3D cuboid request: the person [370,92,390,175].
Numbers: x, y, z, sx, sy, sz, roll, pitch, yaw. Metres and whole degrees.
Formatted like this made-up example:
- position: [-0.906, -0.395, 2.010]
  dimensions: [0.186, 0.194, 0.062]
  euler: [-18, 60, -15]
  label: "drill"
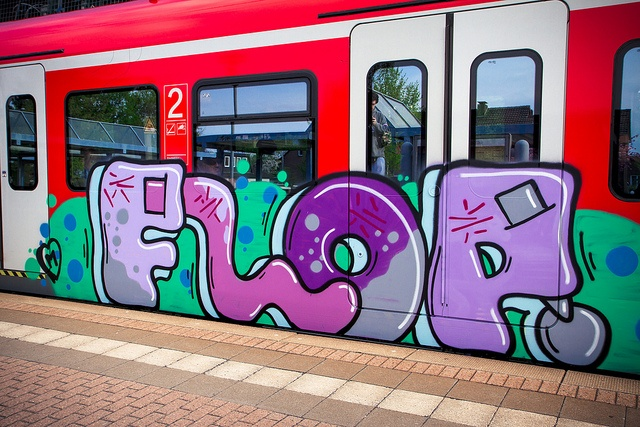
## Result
- position: [0.683, -0.929, 5.704]
  dimensions: [0.272, 0.941, 0.182]
  euler: [11, 17, 43]
  label: "person"
